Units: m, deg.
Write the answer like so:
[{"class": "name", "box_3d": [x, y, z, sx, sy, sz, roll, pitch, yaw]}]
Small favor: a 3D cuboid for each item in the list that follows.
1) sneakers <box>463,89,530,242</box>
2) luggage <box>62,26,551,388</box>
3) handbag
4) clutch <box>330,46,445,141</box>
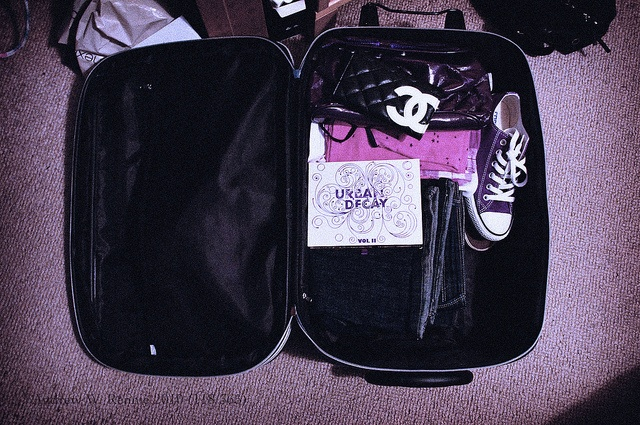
[{"class": "sneakers", "box_3d": [0.702, -0.185, 2.534, 0.205, 0.251, 0.648, 2, 92, 5]}, {"class": "luggage", "box_3d": [-0.043, -0.038, 2.376, 1.785, 0.375, 1.287, -1, 81, -2]}, {"class": "handbag", "box_3d": [0.324, -0.471, 2.300, 0.577, 0.158, 0.372, 4, 88, -4]}, {"class": "clutch", "box_3d": [0.248, -0.456, 2.326, 0.438, 0.106, 0.280, 23, 69, -3]}]
